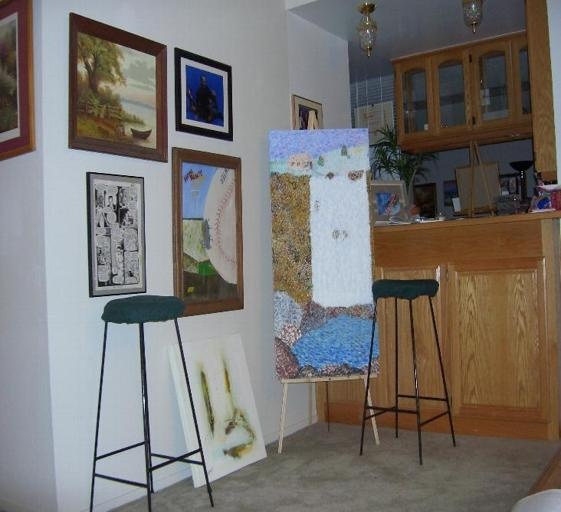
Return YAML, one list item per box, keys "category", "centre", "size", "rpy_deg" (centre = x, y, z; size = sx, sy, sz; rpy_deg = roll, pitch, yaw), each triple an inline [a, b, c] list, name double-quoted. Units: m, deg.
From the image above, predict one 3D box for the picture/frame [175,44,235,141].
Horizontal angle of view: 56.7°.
- category: "picture/frame"
  centre: [-0.501, -1.040, 3.313]
  size: [0.041, 0.699, 0.608]
  rpy_deg: [-3, -2, 33]

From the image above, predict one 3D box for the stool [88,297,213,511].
- category: "stool"
  centre: [-0.643, 0.745, 2.648]
  size: [0.624, 1.096, 0.548]
  rpy_deg: [-1, -2, -36]

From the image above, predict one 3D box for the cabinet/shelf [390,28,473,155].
- category: "cabinet/shelf"
  centre: [1.622, -1.823, 5.593]
  size: [1.076, 1.475, 0.489]
  rpy_deg: [-1, 3, 32]

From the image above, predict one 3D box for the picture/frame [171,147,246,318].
- category: "picture/frame"
  centre: [-0.455, -0.156, 3.314]
  size: [0.062, 1.023, 0.603]
  rpy_deg: [-3, -2, 34]

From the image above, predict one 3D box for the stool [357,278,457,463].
- category: "stool"
  centre: [0.800, 0.696, 3.419]
  size: [0.617, 1.104, 0.791]
  rpy_deg: [-3, -2, 19]

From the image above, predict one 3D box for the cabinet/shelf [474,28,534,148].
- category: "cabinet/shelf"
  centre: [2.227, -1.781, 5.334]
  size: [0.546, 0.789, 0.244]
  rpy_deg: [-3, -2, 25]
